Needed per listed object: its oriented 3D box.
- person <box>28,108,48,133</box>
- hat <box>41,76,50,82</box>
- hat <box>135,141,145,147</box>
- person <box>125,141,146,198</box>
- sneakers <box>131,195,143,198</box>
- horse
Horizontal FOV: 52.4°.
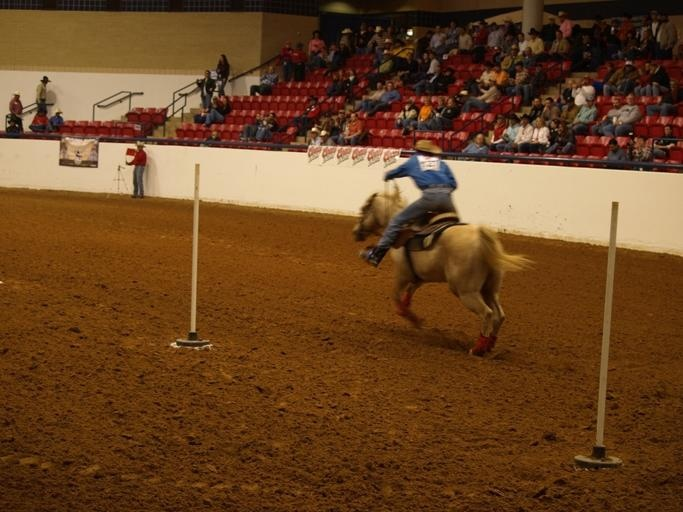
[{"bbox_3d":[-14.557,-6.399,33.510,0.791,0.942,0.978,1,7,-23],"label":"person"},{"bbox_3d":[-15.178,-8.971,35.583,0.403,0.127,0.392,3,3,-2],"label":"hat"},{"bbox_3d":[-7.502,-4.124,25.874,0.247,0.215,0.600,2,6,-16],"label":"hat"},{"bbox_3d":[-7.730,-3.210,26.180,0.753,2.048,1.031,3,7,-17],"label":"person"},{"bbox_3d":[-7.639,-2.191,26.061,0.476,0.146,0.134,2,-11,-2],"label":"sneakers"},{"bbox_3d":[1.390,0.165,9.892,0.977,2.115,3.779,-4,8,-29],"label":"horse"}]
